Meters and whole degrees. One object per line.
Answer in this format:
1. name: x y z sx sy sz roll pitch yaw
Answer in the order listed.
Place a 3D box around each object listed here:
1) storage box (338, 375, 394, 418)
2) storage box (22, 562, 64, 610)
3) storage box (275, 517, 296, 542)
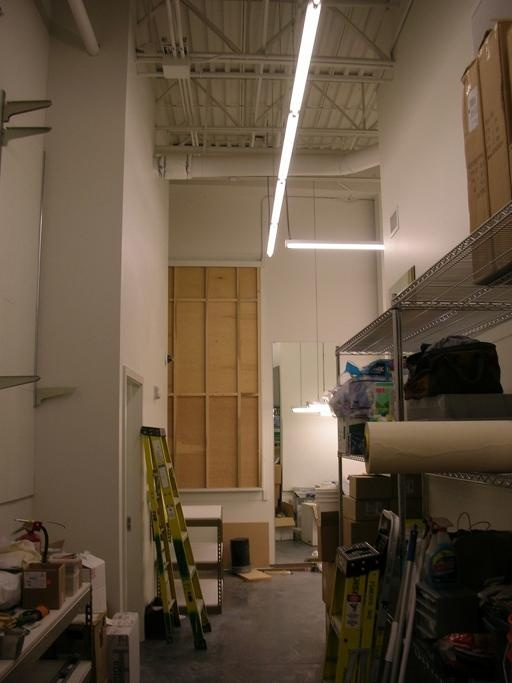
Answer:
1. storage box: 0.659 0.357 3.343 0.190 0.255 0.533 4 -12 -24
2. storage box: -0.799 0.922 2.079 0.127 0.176 0.149 1 -5 -4
3. storage box: 0.457 3.003 8.674 0.370 0.519 0.317 0 -6 -4
